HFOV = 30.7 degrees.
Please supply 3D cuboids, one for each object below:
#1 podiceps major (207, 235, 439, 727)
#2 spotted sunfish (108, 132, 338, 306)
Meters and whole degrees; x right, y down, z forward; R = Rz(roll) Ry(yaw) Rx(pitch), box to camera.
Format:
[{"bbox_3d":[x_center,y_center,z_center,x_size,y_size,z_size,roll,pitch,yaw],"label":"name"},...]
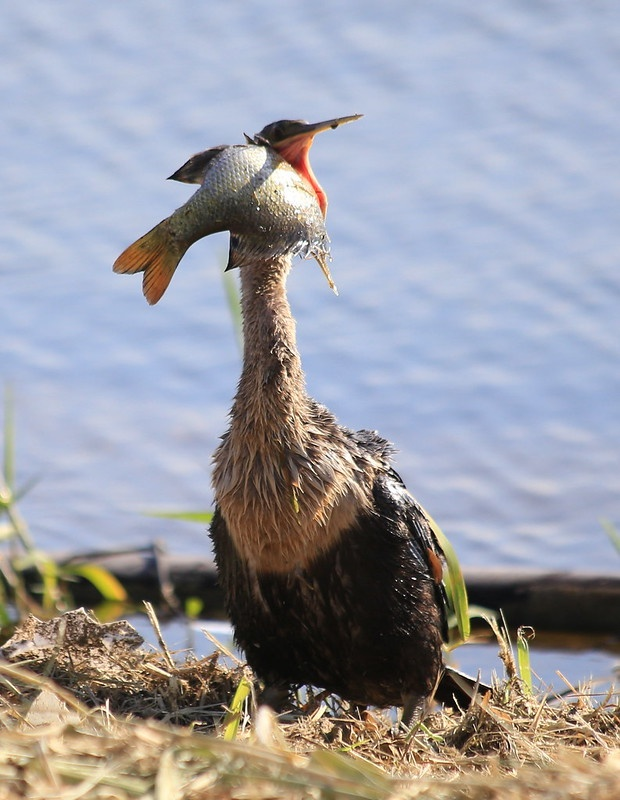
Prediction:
[{"bbox_3d":[0.028,0.284,3.329,0.711,1.413,0.458,-2,7,4],"label":"podiceps major"},{"bbox_3d":[-0.202,-0.496,3.162,0.603,0.440,0.263,-6,8,-32],"label":"spotted sunfish"}]
